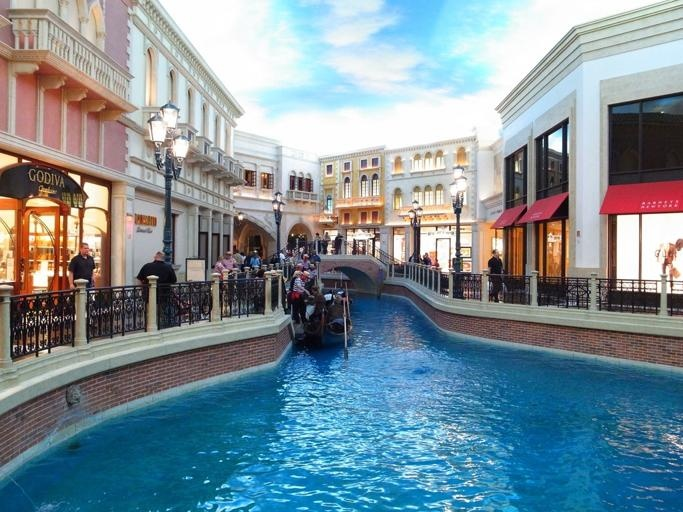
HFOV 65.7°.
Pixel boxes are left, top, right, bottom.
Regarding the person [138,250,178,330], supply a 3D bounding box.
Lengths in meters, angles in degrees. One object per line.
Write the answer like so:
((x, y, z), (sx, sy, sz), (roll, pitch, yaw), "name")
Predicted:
((-4.400, 0.792, 12.788), (0.836, 1.696, 1.193), (-3, 9, -21), "person")

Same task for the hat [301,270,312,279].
((-1.334, 0.742, 20.399), (0.277, 0.182, 0.383), (18, 0, -9), "hat")

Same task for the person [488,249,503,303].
((5.594, 0.679, 19.134), (0.500, 1.514, 2.384), (3, 9, 17), "person")

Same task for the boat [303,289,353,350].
((-0.515, 2.359, 18.913), (1.497, 1.769, 5.072), (-1, -6, 3), "boat")
